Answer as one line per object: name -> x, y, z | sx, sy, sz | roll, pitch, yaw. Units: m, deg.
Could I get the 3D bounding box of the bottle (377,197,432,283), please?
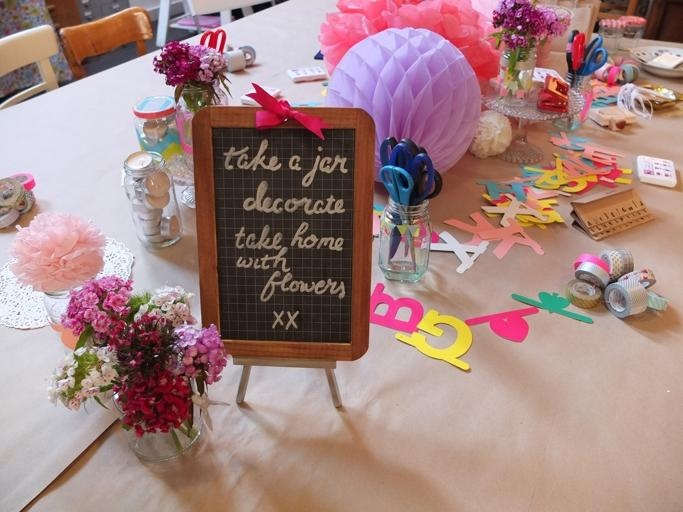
bottle -> 0.142, -0.030, 1.157 | 0.127, 0.237, 0.132 | 0, 35, 0

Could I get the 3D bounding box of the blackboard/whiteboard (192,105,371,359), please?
blackboard/whiteboard -> -0.100, -0.053, 0.921 | 0.385, 0.611, 0.030 | 1, 8, -2

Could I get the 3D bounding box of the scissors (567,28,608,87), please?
scissors -> 0.778, -0.643, 1.724 | 0.170, 0.189, 0.060 | 11, 14, -20

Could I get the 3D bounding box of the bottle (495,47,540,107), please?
bottle -> 0.525, -0.544, 1.605 | 0.088, 0.183, 0.122 | 17, 43, 15

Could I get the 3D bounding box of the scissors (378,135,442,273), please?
scissors -> 0.151, -0.111, 1.155 | 0.178, 0.341, 0.122 | 25, 44, 33

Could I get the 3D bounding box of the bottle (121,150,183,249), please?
bottle -> -0.437, -0.123, 1.255 | 0.097, 0.245, 0.116 | -27, 52, -32

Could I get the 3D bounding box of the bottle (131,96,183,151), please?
bottle -> -0.466, -0.348, 1.424 | 0.110, 0.161, 0.164 | 6, 36, 0
